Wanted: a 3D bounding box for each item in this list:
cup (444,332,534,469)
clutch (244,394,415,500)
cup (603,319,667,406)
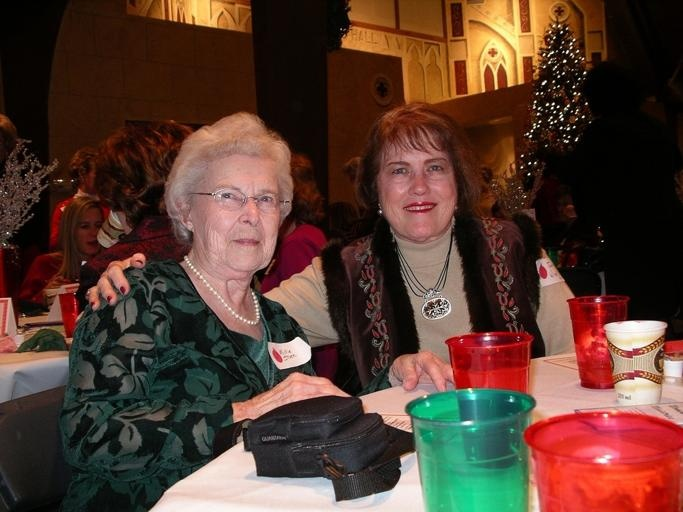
[{"bbox_3d":[0.300,0.230,1.101,0.187,0.133,0.167,-5,0,5],"label":"cup"},{"bbox_3d":[-0.021,0.334,1.011,0.310,0.110,0.273,-6,0,29],"label":"clutch"},{"bbox_3d":[0.646,0.240,1.217,0.143,0.160,0.144,-2,-7,0],"label":"cup"}]
